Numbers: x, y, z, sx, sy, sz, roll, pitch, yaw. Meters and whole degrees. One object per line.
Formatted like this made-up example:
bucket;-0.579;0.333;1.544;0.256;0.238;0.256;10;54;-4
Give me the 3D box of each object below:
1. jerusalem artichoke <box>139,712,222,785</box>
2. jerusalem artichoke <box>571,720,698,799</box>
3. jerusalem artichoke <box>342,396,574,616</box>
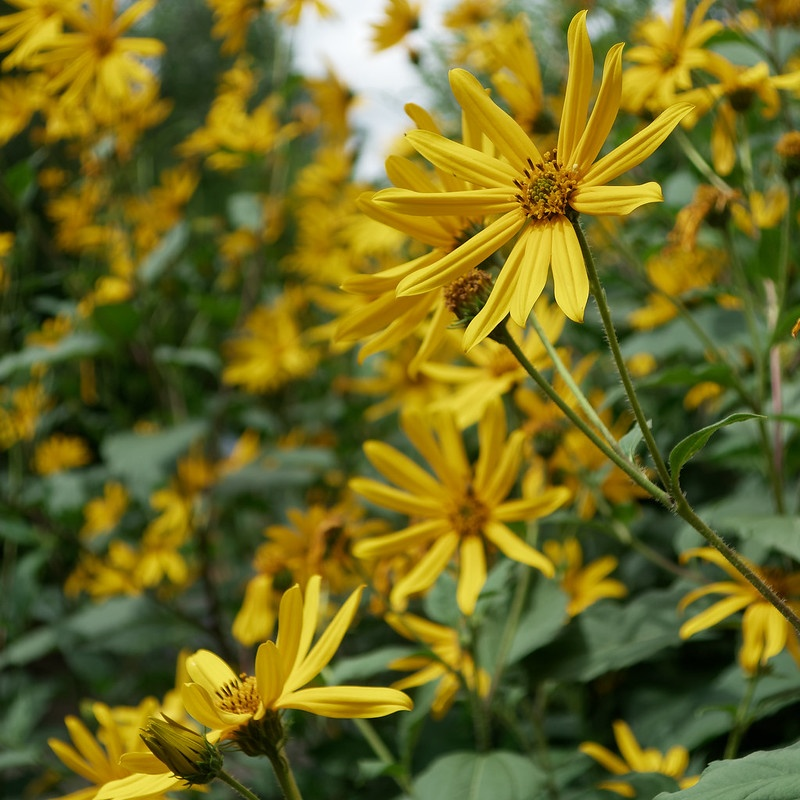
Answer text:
jerusalem artichoke;-0.196;0.335;1.074;0.087;0.053;0.045;35;29;-17
jerusalem artichoke;0.286;0.416;1.246;0.128;0.041;0.119;4;19;-5
jerusalem artichoke;0.071;0.107;1.124;0.260;0.068;0.215;-20;60;-6
